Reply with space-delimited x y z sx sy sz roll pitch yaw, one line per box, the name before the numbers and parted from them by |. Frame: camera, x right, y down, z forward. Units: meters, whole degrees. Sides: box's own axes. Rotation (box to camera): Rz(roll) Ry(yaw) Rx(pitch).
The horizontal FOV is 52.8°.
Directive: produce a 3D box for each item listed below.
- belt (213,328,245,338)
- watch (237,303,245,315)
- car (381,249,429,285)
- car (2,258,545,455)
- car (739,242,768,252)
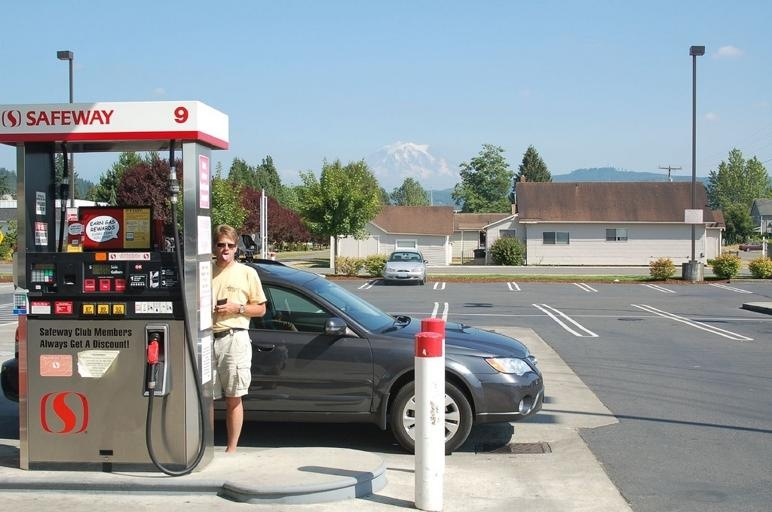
belt | -1.852 0.898 9.043 0.328 0.080 0.082 -2 1 -15
watch | -1.686 0.619 9.039 0.095 0.101 0.064 1 2 16
car | 0.756 0.520 33.394 1.345 1.069 2.928 -1 -4 4
car | -1.362 1.158 10.633 6.595 2.154 2.791 0 1 0
car | 42.415 -1.071 89.557 2.832 0.810 1.220 -3 5 14
